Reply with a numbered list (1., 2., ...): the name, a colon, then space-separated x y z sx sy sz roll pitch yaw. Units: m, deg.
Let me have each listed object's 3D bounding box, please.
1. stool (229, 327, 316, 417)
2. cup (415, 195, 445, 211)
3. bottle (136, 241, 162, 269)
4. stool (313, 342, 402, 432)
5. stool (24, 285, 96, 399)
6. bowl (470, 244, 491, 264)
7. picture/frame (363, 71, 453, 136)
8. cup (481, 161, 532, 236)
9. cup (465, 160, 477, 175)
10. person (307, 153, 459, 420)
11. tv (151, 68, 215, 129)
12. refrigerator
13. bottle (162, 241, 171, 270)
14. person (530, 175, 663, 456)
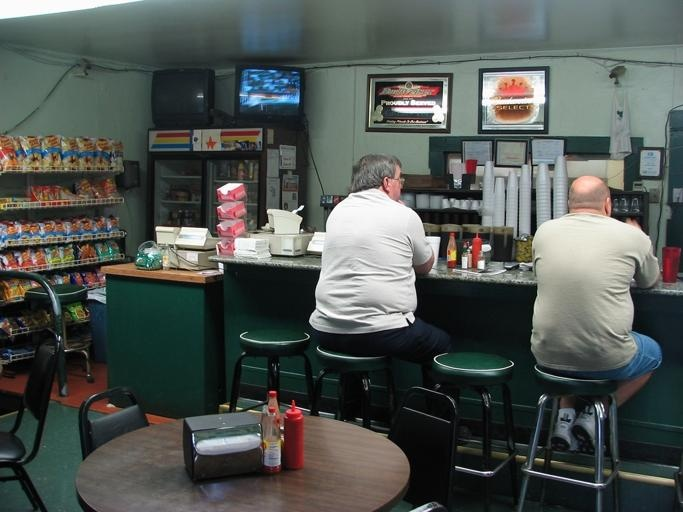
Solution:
1. stool: -0.405 0.681 3.818 0.577 0.578 0.556 0 1 19
2. cup: 0.785 -0.475 5.228 0.216 0.089 0.128 1 2 34
3. bottle: -1.502 -0.004 4.550 0.225 0.192 0.215 3 2 -2
4. stool: 0.116 0.709 3.542 0.523 0.542 0.533 5 7 35
5. stool: -2.619 0.731 5.492 0.644 0.873 0.624 -2 8 8
6. bowl: 0.889 -0.005 3.816 0.176 0.155 0.096 0 5 8
7. picture/frame: 0.840 -1.839 7.027 0.926 0.570 0.037 2 6 22
8. cup: 1.191 -0.410 4.245 0.338 0.530 0.275 1 8 12
9. cup: 1.140 -0.773 5.163 0.084 0.128 0.140 0 8 3
10. person: 0.242 0.251 3.695 0.921 1.610 1.028 1 -5 44
11. tv: -1.917 -1.925 7.183 0.872 0.667 0.484 1 1 14
12. refrigerator: -1.265 -0.816 6.585 1.715 1.401 0.598 1 2 16
13. bottle: -1.335 0.005 4.473 0.084 0.183 0.050 6 11 40
14. person: 1.330 0.375 3.083 0.667 1.552 0.423 -1 8 1
